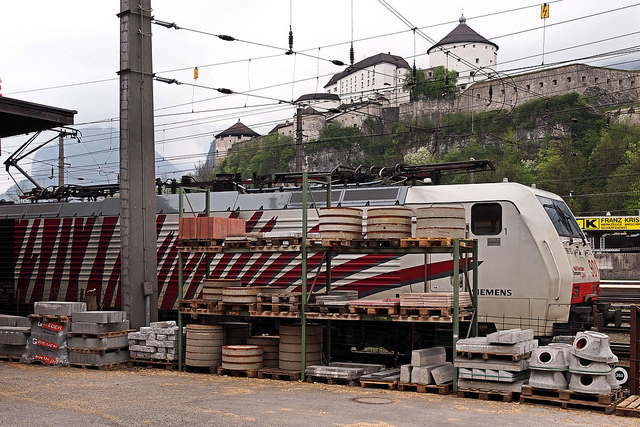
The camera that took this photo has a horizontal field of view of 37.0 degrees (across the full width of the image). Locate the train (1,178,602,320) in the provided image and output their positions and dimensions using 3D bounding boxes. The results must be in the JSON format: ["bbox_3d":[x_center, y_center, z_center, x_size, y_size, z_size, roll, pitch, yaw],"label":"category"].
[{"bbox_3d":[-2.254,1.386,33.408,22.180,4.543,5.813,-3,-10,22],"label":"train"}]
